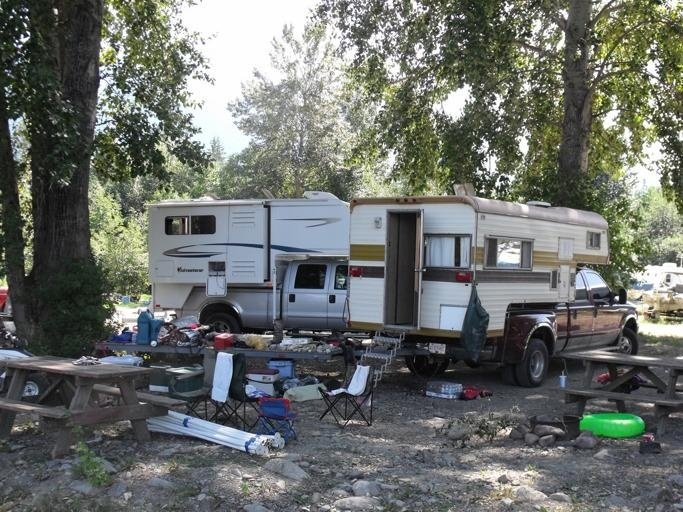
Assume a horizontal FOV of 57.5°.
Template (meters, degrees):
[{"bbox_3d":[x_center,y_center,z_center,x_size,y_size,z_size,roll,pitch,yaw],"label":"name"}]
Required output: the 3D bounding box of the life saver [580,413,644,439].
[{"bbox_3d":[3.891,2.439,8.976,1.018,0.209,0.580,1,5,1],"label":"life saver"}]

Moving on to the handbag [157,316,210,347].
[{"bbox_3d":[-2.988,1.417,11.642,0.645,0.262,0.499,-1,2,44],"label":"handbag"}]

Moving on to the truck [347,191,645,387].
[{"bbox_3d":[3.207,0.549,12.984,3.155,2.944,5.817,0,1,44],"label":"truck"}]

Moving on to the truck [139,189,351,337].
[{"bbox_3d":[-2.034,0.238,13.679,3.488,2.138,1.213,0,-5,13],"label":"truck"}]
